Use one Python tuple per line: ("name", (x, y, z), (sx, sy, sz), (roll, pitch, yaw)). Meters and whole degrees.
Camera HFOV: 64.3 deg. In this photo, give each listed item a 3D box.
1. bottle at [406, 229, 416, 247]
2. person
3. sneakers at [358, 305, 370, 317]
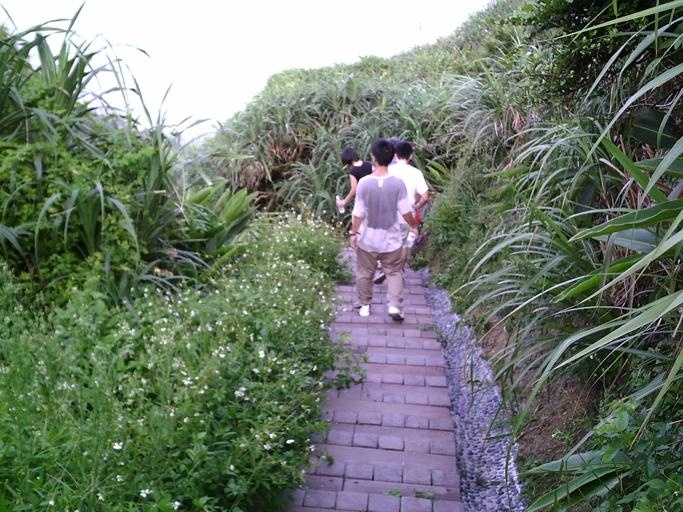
("bottle", (0.745, -0.208, 5.853), (0.112, 0.120, 0.206), (7, 17, 16))
("person", (0.413, -0.258, 5.458), (0.665, 1.766, 0.623), (-5, 4, 4))
("sneakers", (0.226, 0.544, 5.485), (0.075, 0.101, 0.217), (0, -5, 1))
